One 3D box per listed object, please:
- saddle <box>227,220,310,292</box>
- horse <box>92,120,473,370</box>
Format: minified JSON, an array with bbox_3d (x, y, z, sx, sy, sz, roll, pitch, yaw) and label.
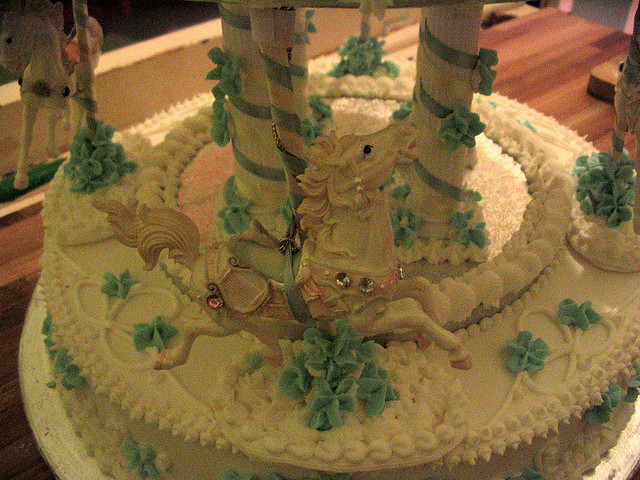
[{"bbox_3d":[-0.266,0.120,4.145,0.504,0.214,0.357,26,80,5],"label":"saddle"},{"bbox_3d":[0.060,0.034,4.036,1.643,1.342,0.657,2,41,5],"label":"horse"}]
